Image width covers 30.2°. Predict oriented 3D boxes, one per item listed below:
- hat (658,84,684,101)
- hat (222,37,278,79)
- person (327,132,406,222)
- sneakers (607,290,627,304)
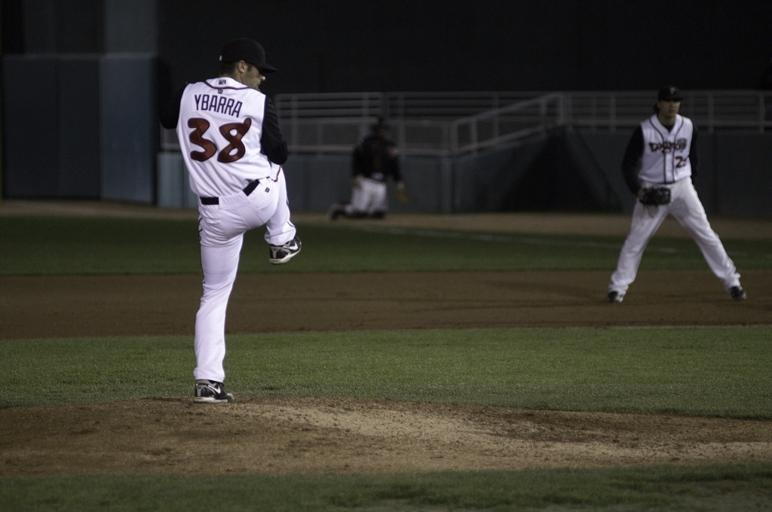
[{"bbox_3d":[3.489,-1.974,17.509,0.264,0.185,0.297,3,4,6],"label":"hat"},{"bbox_3d":[-1.406,-2.083,14.859,0.547,0.252,0.347,1,16,-10],"label":"hat"},{"bbox_3d":[-0.107,-1.220,20.826,0.452,1.378,0.900,-2,6,-44],"label":"person"},{"bbox_3d":[2.877,0.519,17.891,0.133,0.134,0.340,8,-6,10],"label":"sneakers"}]
